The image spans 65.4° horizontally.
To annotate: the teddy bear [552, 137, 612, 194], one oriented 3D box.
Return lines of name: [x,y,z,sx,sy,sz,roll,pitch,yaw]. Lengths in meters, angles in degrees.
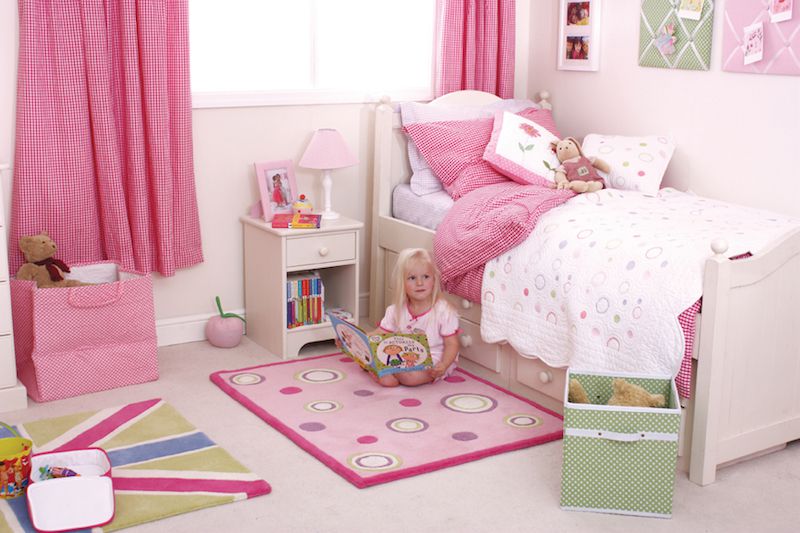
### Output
teddy bear: [1.047,-0.585,3.620,0.428,0.251,0.586,8,12,17]

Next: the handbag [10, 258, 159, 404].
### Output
handbag: [-1.661,0.273,3.365,0.820,0.616,0.616,-6,8,-38]

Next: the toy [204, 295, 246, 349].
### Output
toy: [-1.045,0.319,3.724,0.252,0.282,0.237,-10,20,-21]

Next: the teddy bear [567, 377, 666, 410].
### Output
teddy bear: [0.866,0.494,2.382,0.277,0.106,0.136,6,22,22]

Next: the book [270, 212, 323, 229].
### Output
book: [-0.594,-0.268,3.573,0.286,0.076,0.255,-5,17,-9]

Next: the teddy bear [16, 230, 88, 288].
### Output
teddy bear: [-1.794,-0.007,3.172,0.296,0.319,0.300,4,7,13]

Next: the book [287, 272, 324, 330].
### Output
book: [-0.542,0.202,3.707,0.278,0.325,0.355,-2,8,-13]

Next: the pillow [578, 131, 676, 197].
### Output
pillow: [1.307,-0.601,3.445,0.436,0.393,0.119,4,-24,15]

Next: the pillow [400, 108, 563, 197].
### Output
pillow: [0.345,-0.677,3.616,0.715,0.173,0.456,-16,53,-14]
